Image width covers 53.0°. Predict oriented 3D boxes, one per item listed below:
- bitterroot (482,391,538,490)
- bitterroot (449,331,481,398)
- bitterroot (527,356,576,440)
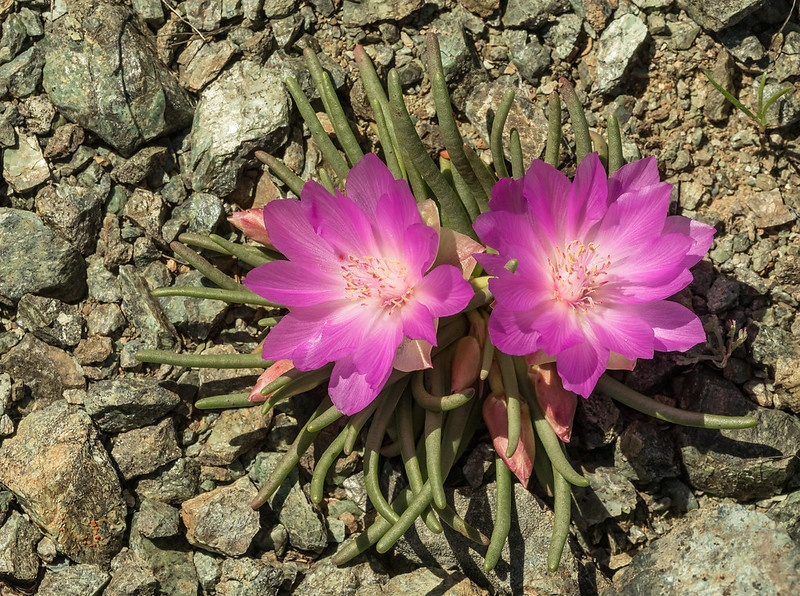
[{"bbox_3d":[0.526,0.669,3.823,0.168,0.127,0.494,-15,72,11],"label":"bitterroot"},{"bbox_3d":[0.308,0.322,3.844,0.128,0.083,0.268,9,73,26],"label":"bitterroot"},{"bbox_3d":[0.746,0.478,3.909,0.178,0.159,0.492,-5,85,3],"label":"bitterroot"}]
